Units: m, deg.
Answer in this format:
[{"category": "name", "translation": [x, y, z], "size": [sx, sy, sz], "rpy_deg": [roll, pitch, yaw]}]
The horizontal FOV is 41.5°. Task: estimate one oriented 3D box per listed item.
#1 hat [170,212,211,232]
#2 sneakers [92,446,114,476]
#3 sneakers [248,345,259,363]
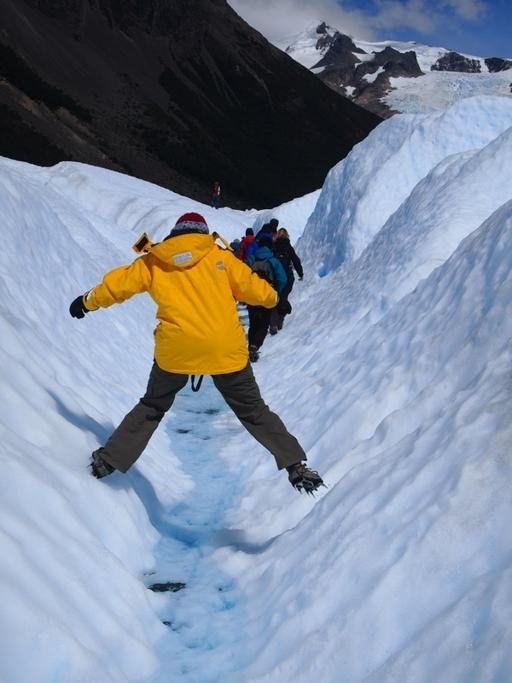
[{"category": "hat", "translation": [-0.281, -0.521, 2.942], "size": [0.091, 0.071, 0.130], "rpy_deg": [13, 14, 40]}, {"category": "sneakers", "translation": [-0.649, 0.512, 2.874], "size": [0.085, 0.112, 0.050], "rpy_deg": [40, -21, -24]}, {"category": "sneakers", "translation": [-0.042, 0.131, 6.702], "size": [0.121, 0.133, 0.141], "rpy_deg": [1, 0, -8]}]
